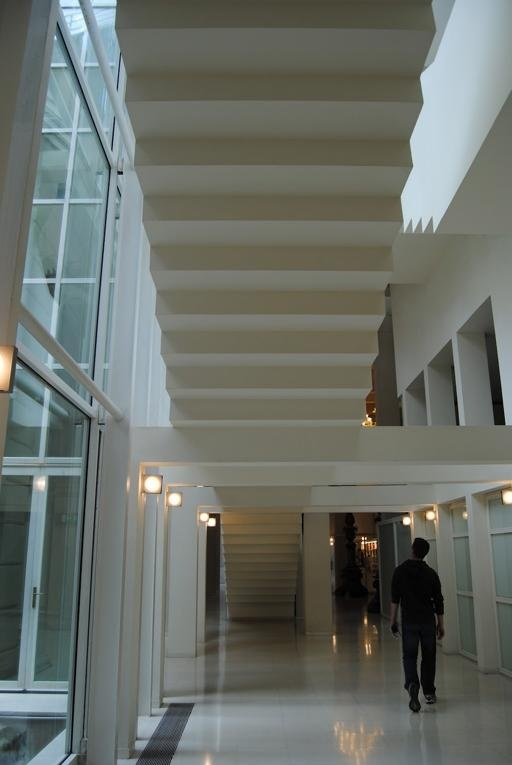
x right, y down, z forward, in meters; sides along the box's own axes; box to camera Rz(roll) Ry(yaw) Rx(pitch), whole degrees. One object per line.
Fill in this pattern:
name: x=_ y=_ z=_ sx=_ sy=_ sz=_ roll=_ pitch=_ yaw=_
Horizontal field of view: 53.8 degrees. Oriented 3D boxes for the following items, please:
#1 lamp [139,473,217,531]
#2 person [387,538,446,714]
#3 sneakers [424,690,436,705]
lamp: x=-0.824 y=1.213 z=5.348 sx=0.898 sy=0.653 sz=0.575 roll=3 pitch=-9 yaw=-1
person: x=1.884 y=2.770 z=5.838 sx=0.551 sy=1.943 sz=1.087 roll=-5 pitch=-11 yaw=19
sneakers: x=2.022 y=3.641 z=5.880 sx=0.116 sy=0.194 sz=0.186 roll=-2 pitch=-14 yaw=5
